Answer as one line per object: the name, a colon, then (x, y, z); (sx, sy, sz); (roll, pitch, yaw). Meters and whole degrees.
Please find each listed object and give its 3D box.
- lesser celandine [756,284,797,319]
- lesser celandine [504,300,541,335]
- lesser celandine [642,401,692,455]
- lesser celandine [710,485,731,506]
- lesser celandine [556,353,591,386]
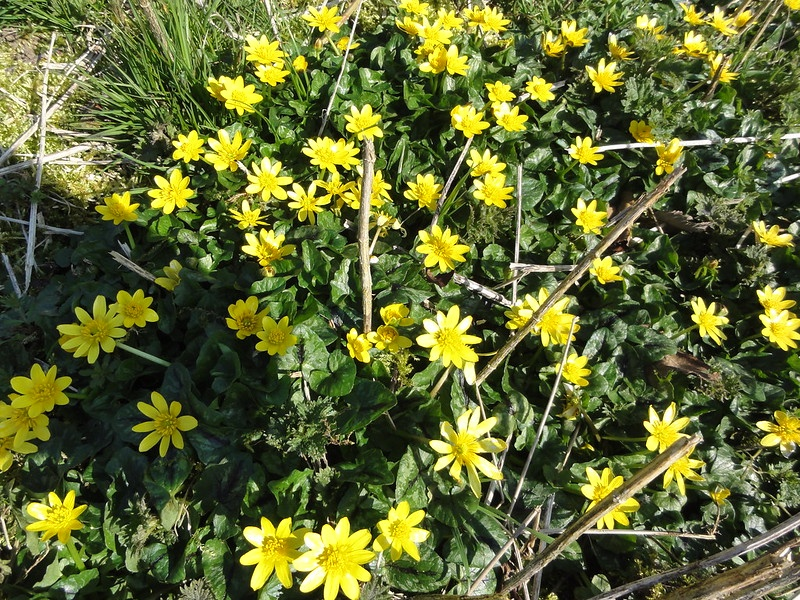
lesser celandine: (2.018, 0.007, 3.562); (0.170, 0.176, 0.065); (52, -23, -5)
lesser celandine: (0.587, 0.077, 3.245); (0.133, 0.198, 0.144); (22, 18, 16)
lesser celandine: (1.273, 0.629, 3.159); (0.260, 0.249, 0.098); (-10, -6, -4)
lesser celandine: (1.571, 0.975, 3.213); (0.075, 0.069, 0.059); (1, 24, -42)
lesser celandine: (0.904, 0.357, 3.320); (0.147, 0.147, 0.175); (22, 18, 17)
